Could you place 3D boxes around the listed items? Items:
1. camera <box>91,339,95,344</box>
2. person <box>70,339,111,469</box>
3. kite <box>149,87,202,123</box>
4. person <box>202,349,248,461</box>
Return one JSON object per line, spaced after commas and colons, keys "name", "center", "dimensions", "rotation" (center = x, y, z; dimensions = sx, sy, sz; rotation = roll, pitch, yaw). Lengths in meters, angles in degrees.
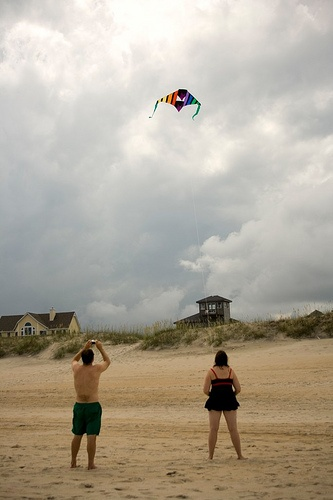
{"name": "camera", "center": [-0.933, 1.158, 6.002], "dimensions": [0.046, 0.070, 0.046], "rotation": [4, 5, 10]}
{"name": "person", "center": [-0.969, 1.864, 5.757], "dimensions": [0.496, 1.468, 0.447], "rotation": [-7, -4, 16]}
{"name": "kite", "center": [0.202, -3.463, 11.120], "dimensions": [0.881, 0.589, 0.858], "rotation": [-7, -4, 16]}
{"name": "person", "center": [0.713, 1.992, 6.085], "dimensions": [0.496, 1.379, 0.423], "rotation": [-6, -4, 3]}
